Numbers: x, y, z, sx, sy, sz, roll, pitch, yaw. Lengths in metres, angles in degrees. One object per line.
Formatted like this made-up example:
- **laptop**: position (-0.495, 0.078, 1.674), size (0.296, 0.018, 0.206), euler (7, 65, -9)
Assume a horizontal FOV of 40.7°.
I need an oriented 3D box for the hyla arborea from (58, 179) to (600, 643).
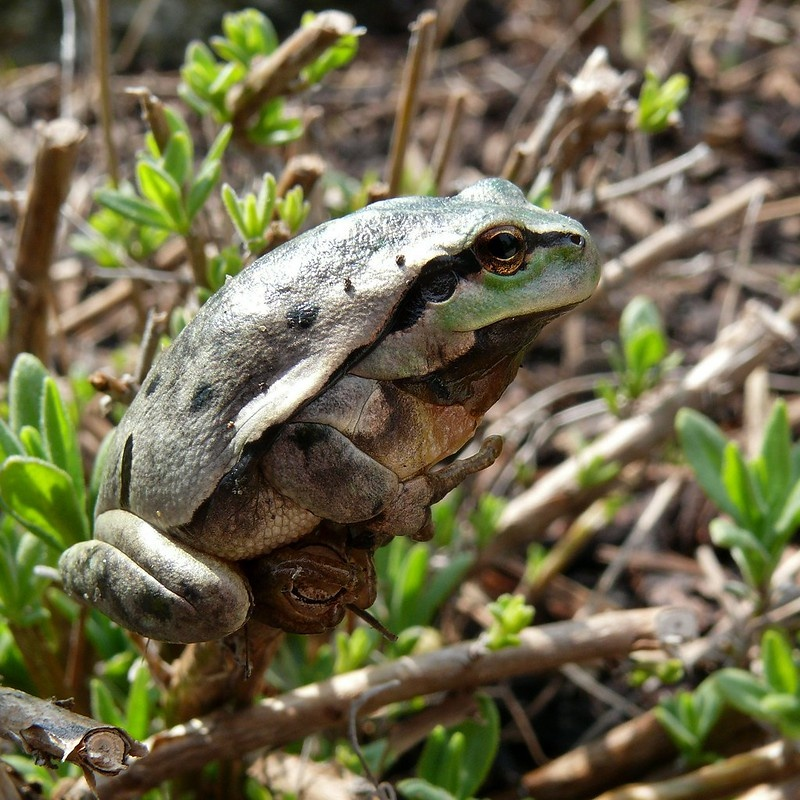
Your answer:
- **hyla arborea**: position (-0.125, -0.069, 1.859), size (0.836, 0.636, 0.891), euler (-17, 30, -32)
